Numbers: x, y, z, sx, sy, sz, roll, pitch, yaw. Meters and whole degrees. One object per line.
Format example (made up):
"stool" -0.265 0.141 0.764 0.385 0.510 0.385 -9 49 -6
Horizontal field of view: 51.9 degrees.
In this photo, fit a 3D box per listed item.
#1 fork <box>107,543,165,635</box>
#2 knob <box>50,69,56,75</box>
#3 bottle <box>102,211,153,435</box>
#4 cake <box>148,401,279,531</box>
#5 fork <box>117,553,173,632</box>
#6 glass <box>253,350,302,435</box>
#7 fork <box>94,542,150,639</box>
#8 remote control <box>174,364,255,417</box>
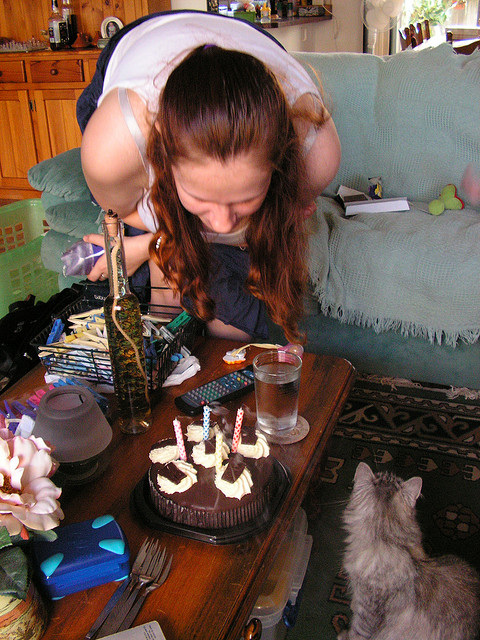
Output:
"fork" -0.105 0.282 0.522 0.013 0.008 0.103 -4 34 28
"knob" -1.318 -1.744 3.486 0.031 0.022 0.034 -7 12 -40
"bottle" -0.174 0.019 0.730 0.061 0.355 0.080 -11 19 -15
"cake" -0.038 0.179 0.654 0.168 0.100 0.167 -12 22 -19
"fork" -0.096 0.284 0.510 0.012 0.010 0.091 -9 27 27
"glass" 0.059 0.119 0.792 0.076 0.119 0.077 -2 20 6
"fork" -0.123 0.280 0.517 0.010 0.007 0.088 5 38 22
"remote control" -0.031 0.120 0.897 0.188 0.032 0.059 -28 42 -33
